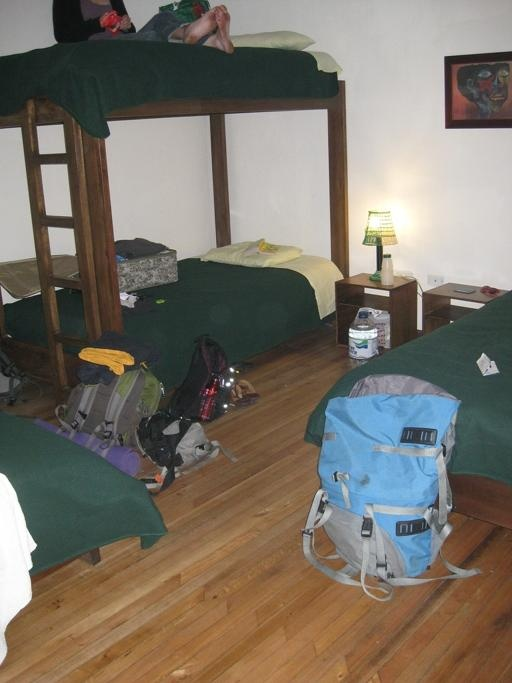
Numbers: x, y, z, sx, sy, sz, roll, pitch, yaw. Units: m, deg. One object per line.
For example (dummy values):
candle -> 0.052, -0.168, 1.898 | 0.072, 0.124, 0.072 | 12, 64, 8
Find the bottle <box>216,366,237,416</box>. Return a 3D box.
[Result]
bottle -> -0.156, 0.288, 3.404 | 0.076, 0.227, 0.152 | 10, -3, -35

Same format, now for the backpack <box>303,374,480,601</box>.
backpack -> 0.470, 0.510, 1.940 | 0.401, 0.577, 0.573 | -15, 22, -35

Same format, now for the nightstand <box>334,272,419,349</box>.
nightstand -> 0.870, -0.206, 4.474 | 0.601, 0.516, 0.414 | 3, -4, 1

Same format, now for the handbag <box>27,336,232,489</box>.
handbag -> -0.495, 0.348, 2.979 | 0.670, 0.336, 0.852 | 12, 22, 26

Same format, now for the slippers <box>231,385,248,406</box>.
slippers -> -0.106, 0.334, 3.546 | 0.089, 0.105, 0.043 | 8, -24, 6

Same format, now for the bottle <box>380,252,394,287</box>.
bottle -> 0.934, -0.513, 4.187 | 0.095, 0.210, 0.271 | -2, 18, 12

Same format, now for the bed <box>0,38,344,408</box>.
bed -> -0.540, -0.787, 3.930 | 1.437, 1.735, 2.596 | 8, 20, 30
